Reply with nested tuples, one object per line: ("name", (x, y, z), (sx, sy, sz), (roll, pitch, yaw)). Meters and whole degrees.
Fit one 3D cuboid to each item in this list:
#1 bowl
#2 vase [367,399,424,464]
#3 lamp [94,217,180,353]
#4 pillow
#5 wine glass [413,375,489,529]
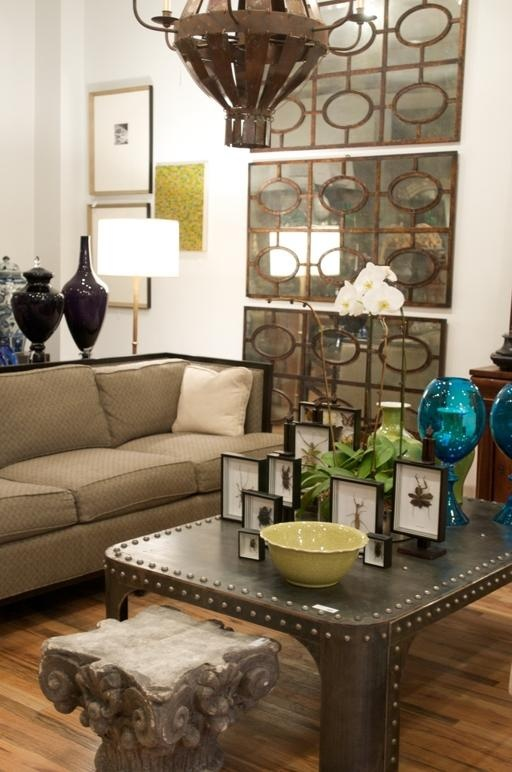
("bowl", (0.119, 0.366, 1.379), (0.151, 0.062, 0.153), (2, 0, 0))
("vase", (0.452, 0.154, 2.018), (0.205, 0.281, 0.208), (1, 5, 10))
("lamp", (-0.704, -0.535, 3.621), (0.438, 1.014, 0.386), (-6, -19, 12))
("pillow", (-0.260, 0.082, 3.444), (0.425, 0.377, 0.229), (3, 5, 22))
("wine glass", (0.613, 0.217, 1.969), (0.205, 0.443, 0.198), (7, 10, 31))
